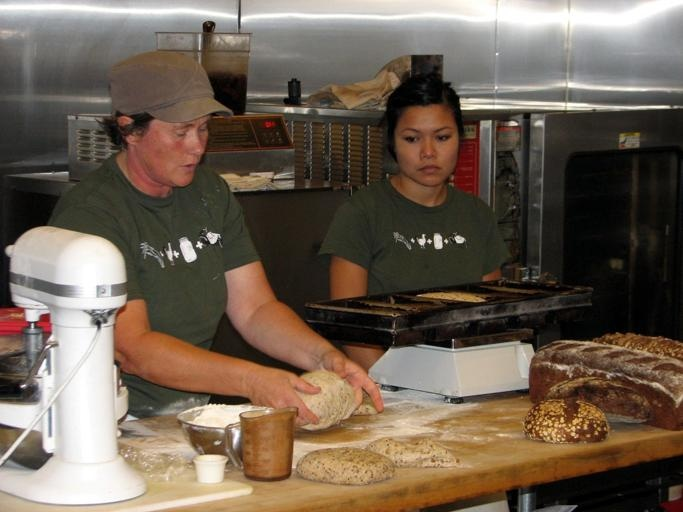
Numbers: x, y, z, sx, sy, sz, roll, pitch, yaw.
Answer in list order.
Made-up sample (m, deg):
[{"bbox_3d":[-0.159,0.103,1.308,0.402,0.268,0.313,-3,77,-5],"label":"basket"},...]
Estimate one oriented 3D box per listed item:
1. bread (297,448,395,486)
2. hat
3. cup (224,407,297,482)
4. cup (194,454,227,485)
[{"bbox_3d":[0.009,0.445,1.345,0.202,0.049,0.078,0,5,-1],"label":"bread"},{"bbox_3d":[-0.475,-0.488,1.848,0.332,0.131,0.216,4,17,11],"label":"hat"},{"bbox_3d":[-0.173,0.388,1.368,0.147,0.155,0.159,0,5,0],"label":"cup"},{"bbox_3d":[-0.262,0.430,1.287,0.063,0.030,0.055,1,3,-3],"label":"cup"}]
